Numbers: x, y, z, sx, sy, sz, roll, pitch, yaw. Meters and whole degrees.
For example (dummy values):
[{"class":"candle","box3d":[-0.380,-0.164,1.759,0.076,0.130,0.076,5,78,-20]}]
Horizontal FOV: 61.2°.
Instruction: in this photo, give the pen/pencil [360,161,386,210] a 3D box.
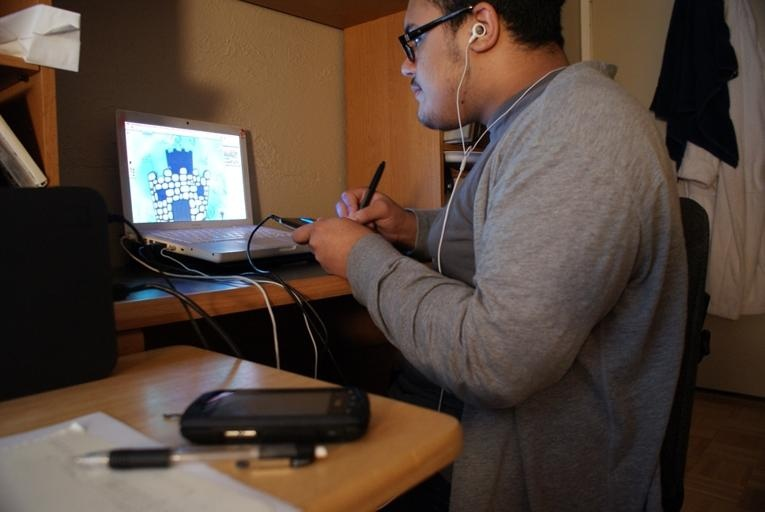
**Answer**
[{"class":"pen/pencil","box3d":[-0.024,-0.200,1.808,0.024,0.026,0.189,13,65,30]}]

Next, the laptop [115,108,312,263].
[{"class":"laptop","box3d":[-0.400,-0.170,1.607,0.436,0.320,0.429,-1,10,-41]}]

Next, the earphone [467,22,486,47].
[{"class":"earphone","box3d":[0.194,-0.451,1.317,0.047,0.025,0.016,-49,-16,31]}]

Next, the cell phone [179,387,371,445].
[{"class":"cell phone","box3d":[-0.150,0.227,0.928,0.210,0.045,0.112,1,12,-1]}]
